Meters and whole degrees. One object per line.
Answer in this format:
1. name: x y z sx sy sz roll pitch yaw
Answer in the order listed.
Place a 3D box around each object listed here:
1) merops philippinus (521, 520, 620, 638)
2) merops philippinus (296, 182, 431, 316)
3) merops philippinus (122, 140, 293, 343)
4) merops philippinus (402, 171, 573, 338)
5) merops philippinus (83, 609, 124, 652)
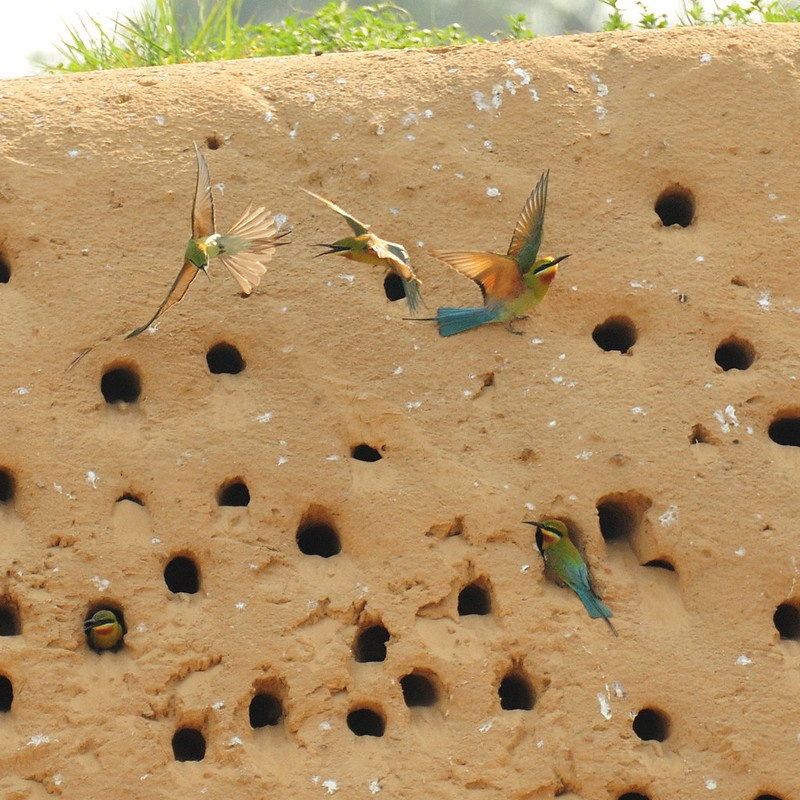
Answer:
1. merops philippinus: 0.654 0.714 7.909 0.116 0.188 0.427 -35 68 -27
2. merops philippinus: -0.103 -0.591 8.063 0.453 0.160 0.600 -7 55 -25
3. merops philippinus: -0.729 -0.606 7.914 0.411 0.549 0.198 18 60 22
4. merops philippinus: 0.414 -0.550 8.090 0.604 0.412 0.639 -6 38 20
5. merops philippinus: -1.143 0.863 7.775 0.154 0.158 0.144 2 49 -9
